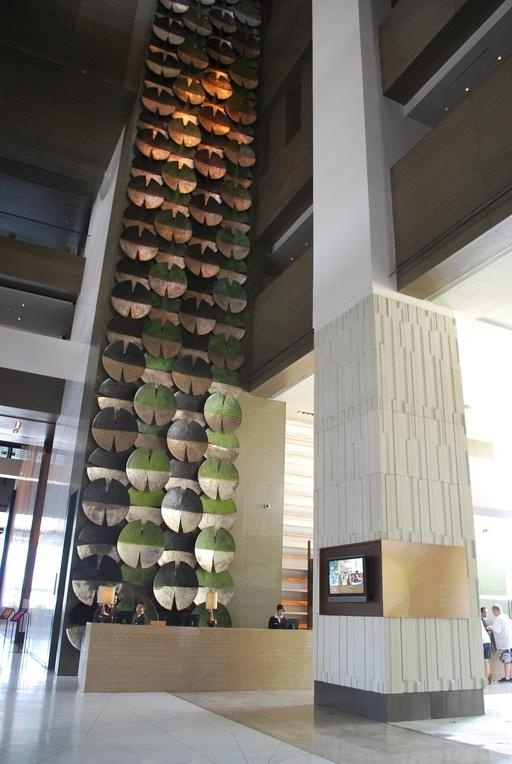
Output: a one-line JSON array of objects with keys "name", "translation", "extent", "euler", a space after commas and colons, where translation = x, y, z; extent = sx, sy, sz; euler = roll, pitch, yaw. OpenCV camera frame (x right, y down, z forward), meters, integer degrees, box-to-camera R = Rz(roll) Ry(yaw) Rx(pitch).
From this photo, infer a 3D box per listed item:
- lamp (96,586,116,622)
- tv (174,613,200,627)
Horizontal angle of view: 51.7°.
[{"name": "lamp", "translation": [-1.891, 2.810, 6.637], "extent": [0.215, 0.415, 0.441], "euler": [7, -19, -15]}, {"name": "tv", "translation": [-0.990, 3.433, 7.640], "extent": [0.392, 0.181, 0.130], "euler": [15, -22, -30]}]
